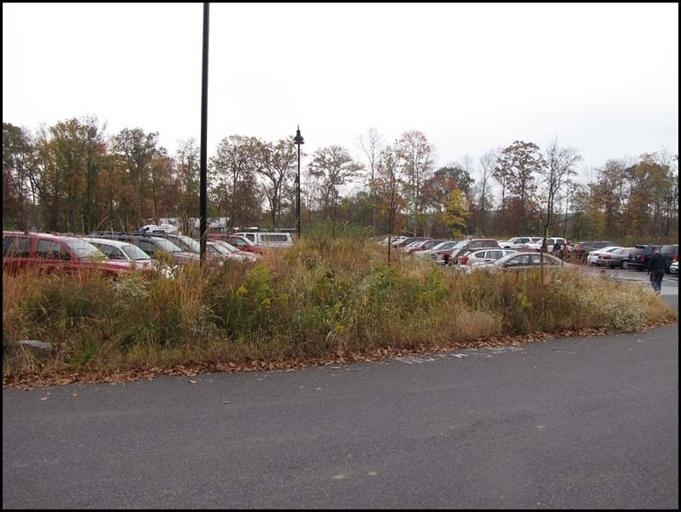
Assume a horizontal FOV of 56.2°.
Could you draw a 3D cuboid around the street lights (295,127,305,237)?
[{"bbox_3d":[-2.055,-3.458,31.445,0.739,5.491,0.825,0,4,-5],"label":"street lights"}]
